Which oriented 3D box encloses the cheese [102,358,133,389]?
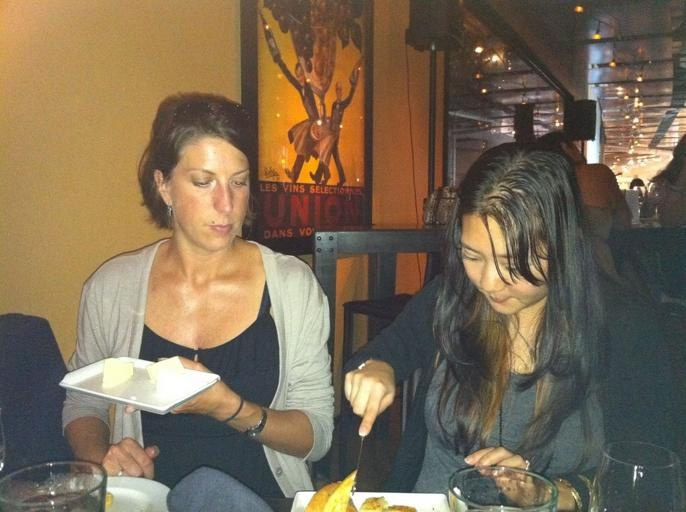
[{"bbox_3d":[-0.666,0.347,1.994,0.083,0.083,0.020,17,-14,-33],"label":"cheese"}]

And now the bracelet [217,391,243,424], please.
[{"bbox_3d":[-0.347,0.494,2.158,0.068,0.091,0.049,0,3,-7],"label":"bracelet"}]

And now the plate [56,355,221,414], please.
[{"bbox_3d":[-0.596,0.367,1.982,0.412,0.123,0.212,1,3,20],"label":"plate"}]

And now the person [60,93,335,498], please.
[{"bbox_3d":[-0.501,0.294,2.367,0.932,1.586,0.866,0,8,-11],"label":"person"}]

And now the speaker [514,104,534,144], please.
[{"bbox_3d":[1.607,-1.197,5.990,0.154,0.388,0.596,1,3,14],"label":"speaker"}]

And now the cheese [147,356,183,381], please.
[{"bbox_3d":[-0.526,0.331,2.002,0.077,0.075,0.019,4,-22,-2],"label":"cheese"}]

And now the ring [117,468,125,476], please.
[{"bbox_3d":[-0.652,0.633,1.977,0.015,0.022,0.005,0,-17,1],"label":"ring"}]

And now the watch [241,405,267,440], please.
[{"bbox_3d":[-0.288,0.546,2.210,0.049,0.094,0.071,17,-14,-11],"label":"watch"}]

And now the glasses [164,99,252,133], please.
[{"bbox_3d":[-0.490,-0.498,2.376,0.212,0.072,0.157,4,6,18],"label":"glasses"}]
